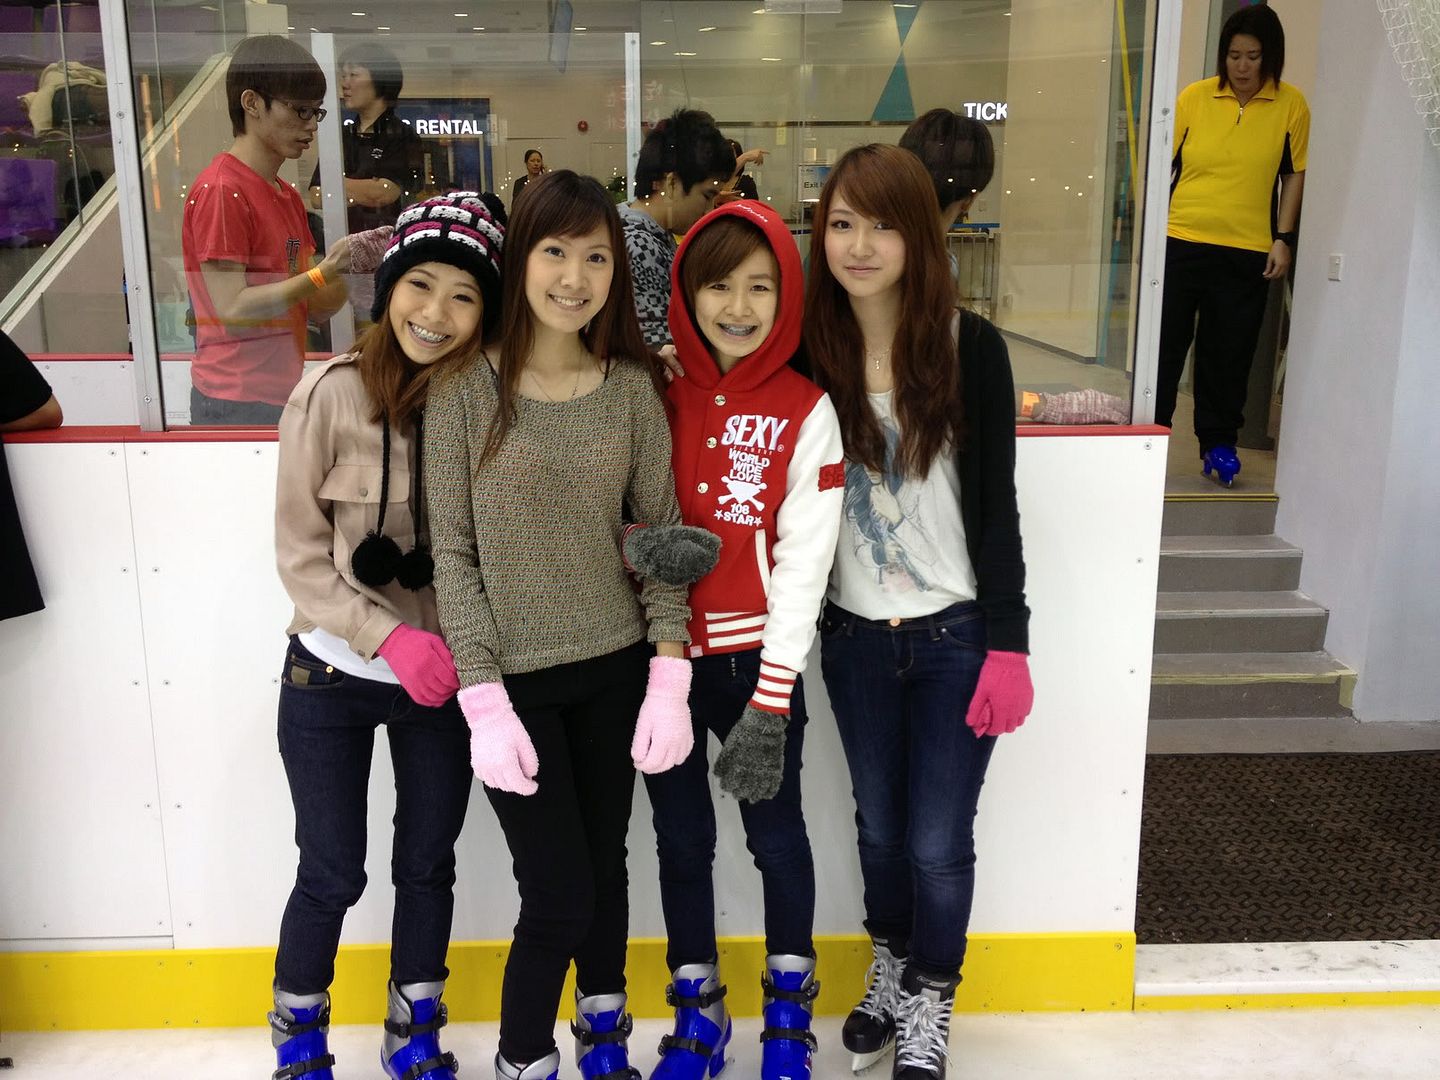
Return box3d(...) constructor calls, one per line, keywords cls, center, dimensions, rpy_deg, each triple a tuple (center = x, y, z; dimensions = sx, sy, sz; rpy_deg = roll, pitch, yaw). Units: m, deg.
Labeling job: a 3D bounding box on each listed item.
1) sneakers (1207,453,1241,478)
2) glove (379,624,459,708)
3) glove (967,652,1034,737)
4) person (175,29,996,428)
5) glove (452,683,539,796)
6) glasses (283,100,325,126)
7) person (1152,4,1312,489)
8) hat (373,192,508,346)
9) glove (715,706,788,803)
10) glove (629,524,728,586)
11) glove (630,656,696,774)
box3d(cls="sneakers", center=(2.005, -0.289, 4.744), dimensions=(0.090, 0.125, 0.121), rpy_deg=(6, 5, -17))
box3d(cls="glove", center=(-0.575, 0.231, 2.242), dimensions=(0.170, 0.148, 0.067), rpy_deg=(3, 9, 12))
box3d(cls="glove", center=(0.552, 0.311, 2.370), dimensions=(0.121, 0.189, 0.063), rpy_deg=(3, 9, 12))
box3d(cls="person", center=(-0.270, -0.889, 3.170), dimensions=(1.945, 1.125, 0.742), rpy_deg=(-8, 19, -12))
box3d(cls="glove", center=(-0.402, 0.363, 2.167), dimensions=(0.117, 0.218, 0.074), rpy_deg=(-6, 10, 9))
box3d(cls="glasses", center=(-0.880, -0.911, 2.550), dimensions=(0.049, 0.016, 0.049), rpy_deg=(28, 12, 18))
box3d(cls="person", center=(1.987, -1.113, 4.634), dimensions=(0.498, 1.792, 0.386), rpy_deg=(4, 9, 16))
box3d(cls="hat", center=(-0.541, -0.516, 2.363), dimensions=(0.204, 0.263, 0.288), rpy_deg=(10, -18, -16))
box3d(cls="glove", center=(0.065, 0.411, 2.335), dimensions=(0.112, 0.195, 0.049), rpy_deg=(4, 8, 1))
box3d(cls="glove", center=(-0.088, 0.020, 2.234), dimensions=(0.134, 0.112, 0.058), rpy_deg=(5, -12, -6))
box3d(cls="glove", center=(-0.101, 0.336, 2.275), dimensions=(0.120, 0.210, 0.066), rpy_deg=(-1, 5, -13))
